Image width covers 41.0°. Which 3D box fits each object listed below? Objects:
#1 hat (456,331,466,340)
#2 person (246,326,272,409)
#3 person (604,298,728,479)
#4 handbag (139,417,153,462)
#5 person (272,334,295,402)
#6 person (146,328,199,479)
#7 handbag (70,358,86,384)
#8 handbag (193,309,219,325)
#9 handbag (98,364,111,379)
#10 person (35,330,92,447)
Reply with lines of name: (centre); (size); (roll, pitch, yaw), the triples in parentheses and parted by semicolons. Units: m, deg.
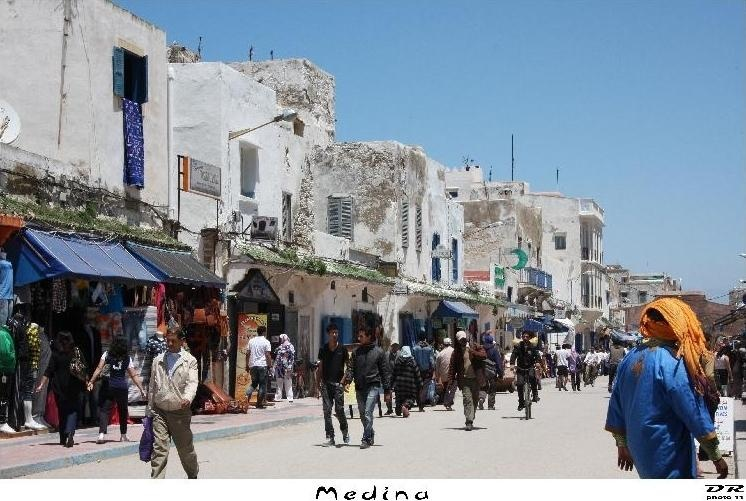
hat: (1.927, 1.901, 22.184); (0.199, 0.149, 0.303); (-2, -13, -4)
person: (-2.945, 2.967, 25.269); (0.603, 2.085, 1.520); (0, -8, -7)
person: (3.224, 1.535, 11.123); (1.183, 1.977, 0.484); (-4, -8, 17)
handbag: (-3.252, 2.702, 14.240); (0.187, 0.636, 0.347); (1, -8, -14)
person: (-2.552, 3.340, 28.085); (0.556, 1.866, 1.297); (0, -8, -6)
person: (-2.890, 2.201, 14.329); (0.692, 2.148, 0.653); (1, -8, -13)
handbag: (-5.237, 2.158, 17.587); (0.134, 0.356, 0.263); (-9, 2, -22)
handbag: (-4.117, 1.642, 24.231); (0.450, 0.454, 0.346); (1, 3, 10)
handbag: (-4.788, 2.181, 17.665); (0.170, 0.187, 0.206); (-4, 1, 0)
person: (-5.413, 2.445, 17.674); (0.468, 2.049, 0.789); (7, -11, -43)
